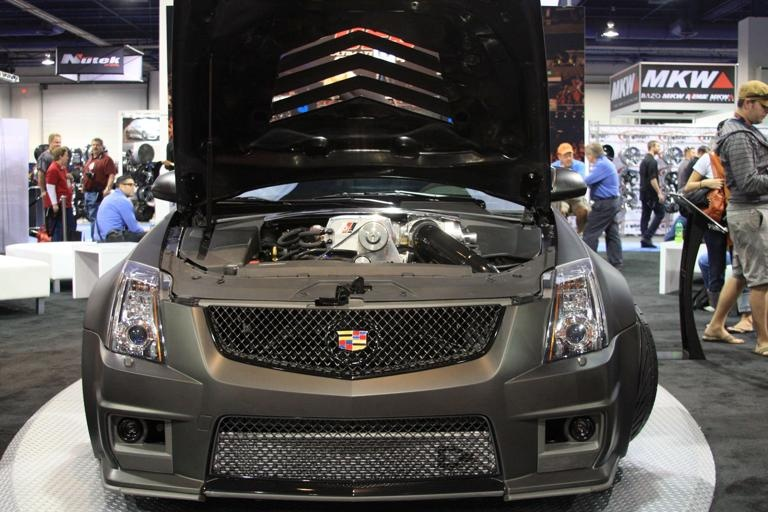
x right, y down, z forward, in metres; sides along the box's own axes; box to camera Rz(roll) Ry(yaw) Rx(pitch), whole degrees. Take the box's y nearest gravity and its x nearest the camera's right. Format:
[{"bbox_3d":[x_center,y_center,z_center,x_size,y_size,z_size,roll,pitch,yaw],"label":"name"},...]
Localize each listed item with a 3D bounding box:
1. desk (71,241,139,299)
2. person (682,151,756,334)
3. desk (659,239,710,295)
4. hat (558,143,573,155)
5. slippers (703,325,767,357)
[{"bbox_3d":[-2.470,0.096,4.942,0.505,0.609,0.656,-3,7,-29],"label":"desk"},{"bbox_3d":[3.220,-0.166,5.537,0.386,1.388,0.503,2,13,21],"label":"person"},{"bbox_3d":[4.133,0.130,7.734,0.722,0.545,0.741,2,1,-6],"label":"desk"},{"bbox_3d":[2.914,-1.730,9.247,0.223,0.131,0.311,-1,13,-1],"label":"hat"},{"bbox_3d":[3.086,0.737,4.995,0.428,0.170,0.143,0,0,40],"label":"slippers"}]
